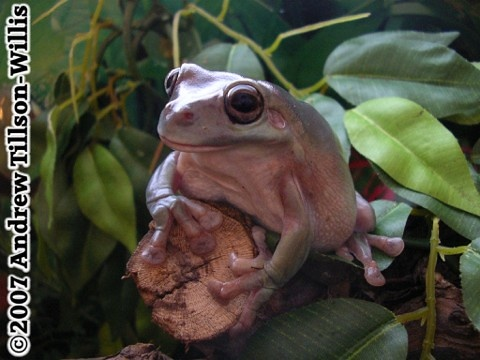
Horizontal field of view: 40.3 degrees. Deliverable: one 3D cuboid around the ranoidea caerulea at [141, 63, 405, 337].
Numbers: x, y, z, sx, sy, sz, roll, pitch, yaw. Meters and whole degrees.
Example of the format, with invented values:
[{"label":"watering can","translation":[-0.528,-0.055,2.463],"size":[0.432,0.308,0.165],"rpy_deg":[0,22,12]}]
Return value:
[{"label":"ranoidea caerulea","translation":[0.076,-0.015,1.522],"size":[0.549,0.439,0.610],"rpy_deg":[-22,32,-38]}]
